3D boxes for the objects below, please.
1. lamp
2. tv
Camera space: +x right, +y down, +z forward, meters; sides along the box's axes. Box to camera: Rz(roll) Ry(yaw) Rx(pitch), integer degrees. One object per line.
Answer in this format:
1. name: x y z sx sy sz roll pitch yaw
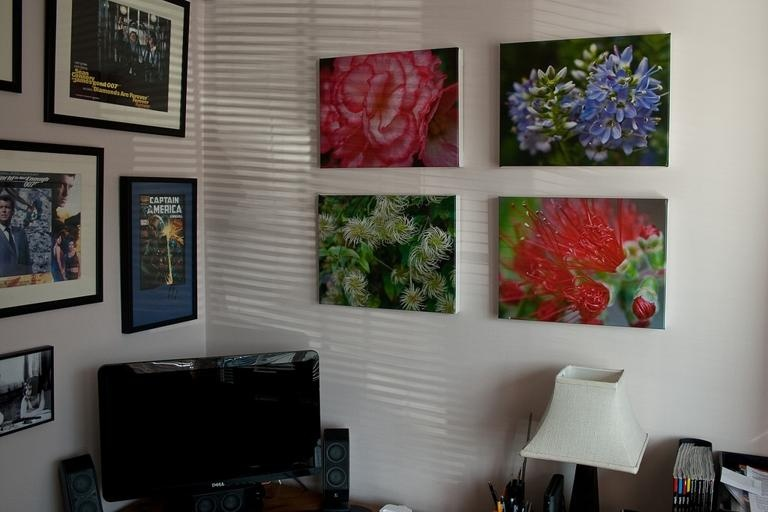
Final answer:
1. lamp: 0.870 0.607 2.549 0.500 0.764 0.557 0 4 23
2. tv: -0.773 0.739 2.575 0.673 0.422 0.059 -1 0 -14
